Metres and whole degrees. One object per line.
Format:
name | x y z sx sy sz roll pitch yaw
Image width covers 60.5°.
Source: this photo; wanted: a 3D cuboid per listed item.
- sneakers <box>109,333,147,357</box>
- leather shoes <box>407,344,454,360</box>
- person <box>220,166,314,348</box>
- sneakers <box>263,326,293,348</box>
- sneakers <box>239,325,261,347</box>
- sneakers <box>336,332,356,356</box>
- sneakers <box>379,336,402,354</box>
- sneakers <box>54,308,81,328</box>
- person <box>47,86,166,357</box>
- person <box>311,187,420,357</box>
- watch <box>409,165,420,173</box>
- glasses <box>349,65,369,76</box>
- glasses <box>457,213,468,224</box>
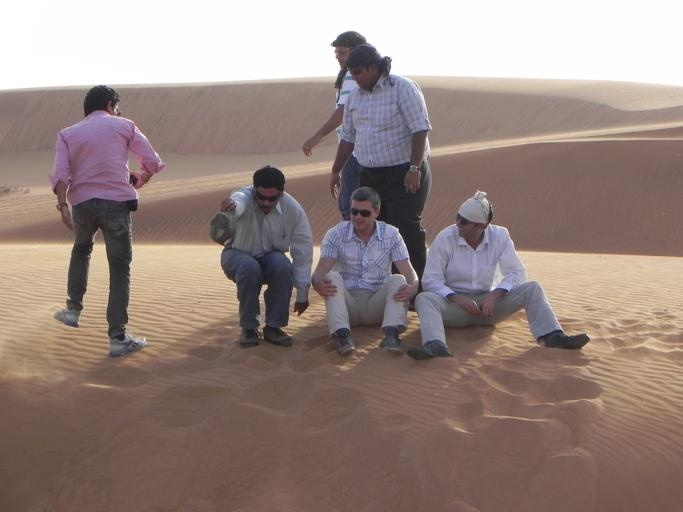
sneakers | -2.126 0.856 5.863 0.145 0.202 0.409 6 13 33
leather shoes | 0.803 0.868 5.309 0.451 0.200 0.155 11 -18 -27
person | -0.730 0.010 5.871 0.921 1.797 0.664 -2 11 -13
sneakers | -0.649 0.810 5.960 0.363 0.152 0.136 6 7 42
sneakers | -0.922 0.808 5.921 0.156 0.192 0.437 3 -7 -9
sneakers | 0.046 0.831 5.641 0.110 0.130 0.296 -7 6 -12
sneakers | 0.481 0.840 5.639 0.228 0.156 0.244 1 11 5
sneakers | -2.743 0.593 5.865 0.143 0.170 0.384 -15 24 -42
person | -2.251 -0.329 5.635 0.932 2.576 0.638 -6 12 -27
person | 0.258 0.099 5.850 1.061 1.531 1.406 1 1 1
watch | 0.779 -0.937 6.227 0.107 0.063 0.072 -1 11 -3
glasses | 0.179 -1.951 6.156 0.088 0.096 0.116 1 30 35
glasses | 1.187 -0.365 5.753 0.138 0.106 0.054 10 14 41
